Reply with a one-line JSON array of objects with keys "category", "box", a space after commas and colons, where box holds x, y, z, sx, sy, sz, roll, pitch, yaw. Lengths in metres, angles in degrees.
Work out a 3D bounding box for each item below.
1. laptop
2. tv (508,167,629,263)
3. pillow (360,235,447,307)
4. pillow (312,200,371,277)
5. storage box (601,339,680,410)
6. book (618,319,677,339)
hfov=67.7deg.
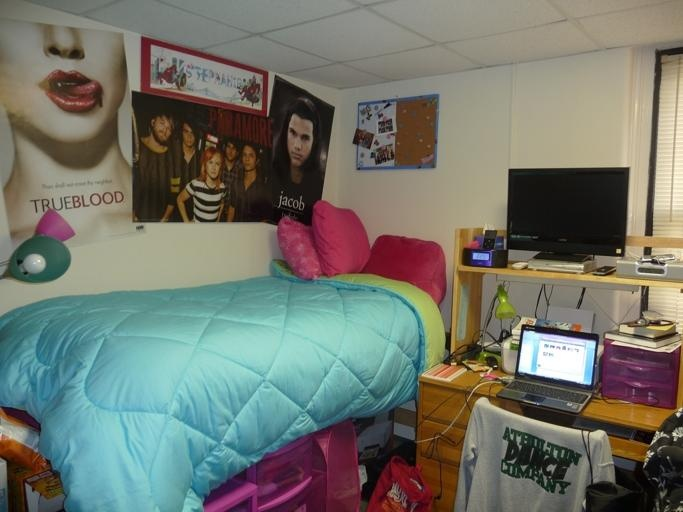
[{"category": "laptop", "box": [1.122, 0.592, 2.789, 0.447, 0.349, 0.429, 2, 4, 38]}, {"category": "tv", "box": [1.384, -0.258, 3.086, 0.507, 0.429, 0.055, 5, 7, 30]}, {"category": "pillow", "box": [0.475, 0.044, 3.738, 0.510, 0.396, 0.503, 10, 18, 37]}, {"category": "pillow", "box": [0.049, -0.115, 3.972, 0.328, 0.542, 0.706, 13, 11, 30]}, {"category": "storage box", "box": [1.597, 0.600, 2.736, 0.305, 0.325, 0.319, 1, -1, 39]}, {"category": "book", "box": [1.634, 0.389, 2.744, 0.154, 0.042, 0.156, -5, 5, -43]}]
